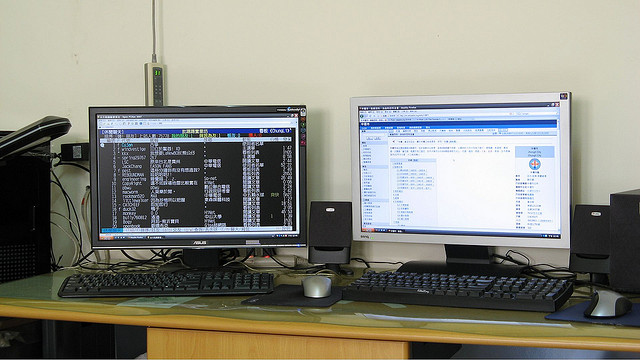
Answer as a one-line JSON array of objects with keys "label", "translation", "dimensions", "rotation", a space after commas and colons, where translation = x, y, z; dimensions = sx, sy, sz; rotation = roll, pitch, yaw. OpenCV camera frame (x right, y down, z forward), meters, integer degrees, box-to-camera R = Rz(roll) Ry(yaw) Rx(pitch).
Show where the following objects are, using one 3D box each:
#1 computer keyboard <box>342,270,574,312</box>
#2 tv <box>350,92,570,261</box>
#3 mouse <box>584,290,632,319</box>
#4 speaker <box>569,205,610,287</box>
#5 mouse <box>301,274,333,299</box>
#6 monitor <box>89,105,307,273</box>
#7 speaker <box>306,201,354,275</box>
[{"label": "computer keyboard", "translation": [0.601, 0.385, 1.966], "dimensions": [0.590, 0.112, 0.240], "rotation": [-2, 1, 31]}, {"label": "tv", "translation": [0.594, -0.032, 2.133], "dimensions": [1.020, 0.542, 0.251], "rotation": [0, -2, 10]}, {"label": "mouse", "translation": [0.981, 0.420, 1.767], "dimensions": [0.174, 0.090, 0.055], "rotation": [1, -4, -9]}, {"label": "speaker", "translation": [1.072, 0.244, 2.071], "dimensions": [0.147, 0.323, 0.137], "rotation": [-1, 2, 26]}, {"label": "mouse", "translation": [-0.021, 0.395, 1.989], "dimensions": [0.147, 0.063, 0.116], "rotation": [2, 6, 5]}, {"label": "monitor", "translation": [-0.526, -0.012, 2.240], "dimensions": [0.945, 0.626, 0.079], "rotation": [1, -5, 1]}, {"label": "speaker", "translation": [0.055, 0.239, 2.285], "dimensions": [0.190, 0.313, 0.150], "rotation": [1, 3, 16]}]
